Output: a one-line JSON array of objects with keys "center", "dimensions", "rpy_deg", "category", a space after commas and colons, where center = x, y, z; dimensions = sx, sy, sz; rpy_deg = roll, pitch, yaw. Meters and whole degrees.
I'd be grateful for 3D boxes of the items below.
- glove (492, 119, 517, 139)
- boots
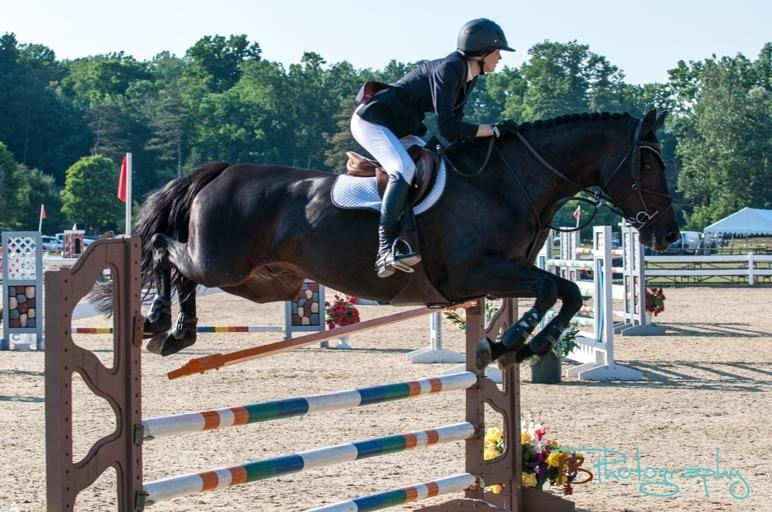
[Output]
[{"center": [1.122, -1.219, 9.878], "dimensions": [0.248, 0.125, 0.093], "rpy_deg": [-8, -11, -12], "category": "glove"}, {"center": [0.098, -0.302, 9.673], "dimensions": [0.460, 0.910, 0.411], "rpy_deg": [-2, -2, 31], "category": "boots"}]
